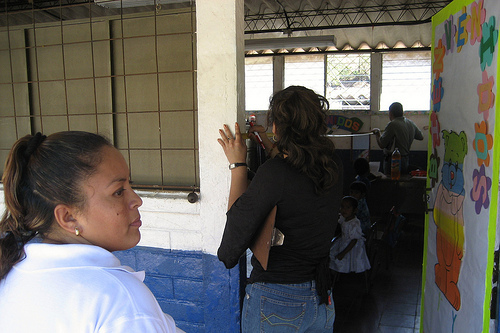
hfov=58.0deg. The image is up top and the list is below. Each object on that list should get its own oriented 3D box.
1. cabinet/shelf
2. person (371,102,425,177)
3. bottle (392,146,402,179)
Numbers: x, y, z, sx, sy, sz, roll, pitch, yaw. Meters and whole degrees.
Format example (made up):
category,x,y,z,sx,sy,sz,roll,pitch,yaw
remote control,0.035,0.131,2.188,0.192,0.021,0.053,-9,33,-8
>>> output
category,x,y,z,sx,sy,sz,roll,pitch,yaw
cabinet/shelf,2.096,0.388,6.163,0.519,0.398,0.427,-3,2,-41
person,2.336,-0.444,7.023,0.661,1.123,1.079,-1,5,14
bottle,2.022,-0.040,6.279,0.118,0.353,0.402,0,5,17
